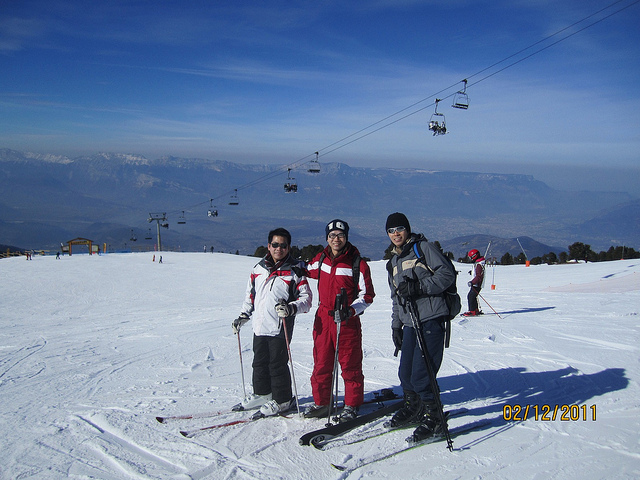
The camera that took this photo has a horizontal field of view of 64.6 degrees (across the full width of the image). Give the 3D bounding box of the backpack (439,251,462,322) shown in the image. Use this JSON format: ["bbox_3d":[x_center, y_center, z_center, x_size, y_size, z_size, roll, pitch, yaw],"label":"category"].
[{"bbox_3d":[1.816,0.780,6.905,0.259,0.700,0.171,-3,7,-22],"label":"backpack"}]

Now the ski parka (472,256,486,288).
[{"bbox_3d":[4.471,0.867,14.156,0.440,0.889,1.075,-2,19,21],"label":"ski parka"}]

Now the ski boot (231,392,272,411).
[{"bbox_3d":[-1.008,2.468,7.757,0.707,0.258,0.229,2,-3,-9],"label":"ski boot"}]

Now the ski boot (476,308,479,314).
[{"bbox_3d":[4.583,2.053,14.667,0.086,0.143,0.084,1,5,13],"label":"ski boot"}]

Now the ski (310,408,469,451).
[{"bbox_3d":[0.965,2.644,7.011,2.747,0.288,0.284,-6,7,-19],"label":"ski"}]

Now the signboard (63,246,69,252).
[{"bbox_3d":[-39.890,1.373,79.228,1.449,0.348,0.749,-13,-24,33],"label":"signboard"}]

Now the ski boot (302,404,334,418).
[{"bbox_3d":[-0.039,2.523,7.467,0.501,0.201,0.163,3,-9,-5],"label":"ski boot"}]

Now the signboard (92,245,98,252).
[{"bbox_3d":[-23.444,0.852,52.608,0.604,0.545,0.312,2,13,-7],"label":"signboard"}]

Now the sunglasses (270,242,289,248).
[{"bbox_3d":[-0.614,0.073,7.568,0.243,0.082,0.062,-1,6,-5],"label":"sunglasses"}]

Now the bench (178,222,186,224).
[{"bbox_3d":[-15.556,-1.952,56.812,0.623,0.184,0.855,1,1,9],"label":"bench"}]

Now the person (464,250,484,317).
[{"bbox_3d":[4.386,1.224,14.332,0.487,1.982,1.156,1,7,16],"label":"person"}]

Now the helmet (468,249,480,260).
[{"bbox_3d":[4.278,0.394,14.039,0.335,0.258,0.259,-18,-2,0],"label":"helmet"}]

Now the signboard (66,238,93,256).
[{"bbox_3d":[-33.670,0.952,70.712,3.920,2.707,0.339,1,13,10],"label":"signboard"}]

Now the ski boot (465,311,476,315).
[{"bbox_3d":[4.369,2.103,14.644,0.297,0.110,0.146,2,7,18],"label":"ski boot"}]

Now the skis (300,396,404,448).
[{"bbox_3d":[0.625,2.594,7.318,2.223,0.103,0.213,-4,37,-40],"label":"skis"}]
